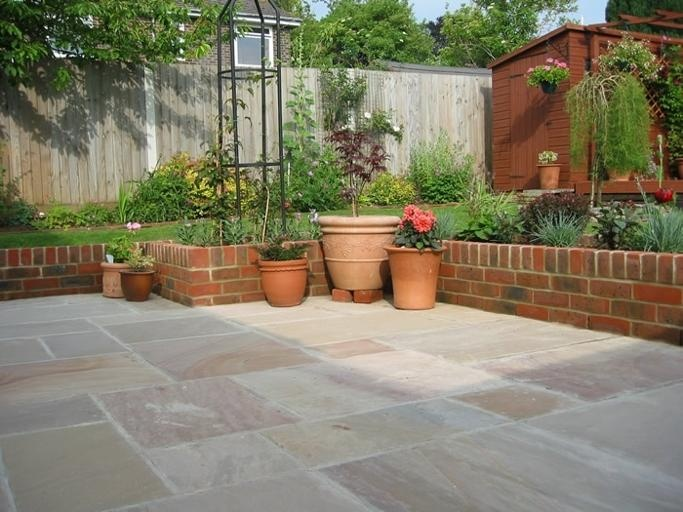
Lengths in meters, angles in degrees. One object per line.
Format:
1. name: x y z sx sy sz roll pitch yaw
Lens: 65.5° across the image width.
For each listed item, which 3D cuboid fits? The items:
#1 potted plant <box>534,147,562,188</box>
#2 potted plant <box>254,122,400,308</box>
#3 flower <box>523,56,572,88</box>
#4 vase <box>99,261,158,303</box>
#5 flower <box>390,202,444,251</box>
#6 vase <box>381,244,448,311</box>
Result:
1. potted plant: 4.178 -1.735 10.715 0.416 0.807 0.881 2 7 22
2. potted plant: -0.039 -0.446 5.525 1.274 1.806 1.265 0 7 6
3. flower: 4.143 -3.699 10.766 0.607 0.508 0.619 -1 11 5
4. vase: -2.298 0.252 5.724 0.450 0.293 0.465 2 1 24
5. flower: 0.691 -0.231 4.885 0.392 0.337 0.396 -5 15 -35
6. vase: 0.689 0.199 4.835 0.494 0.511 0.544 0 0 -2
